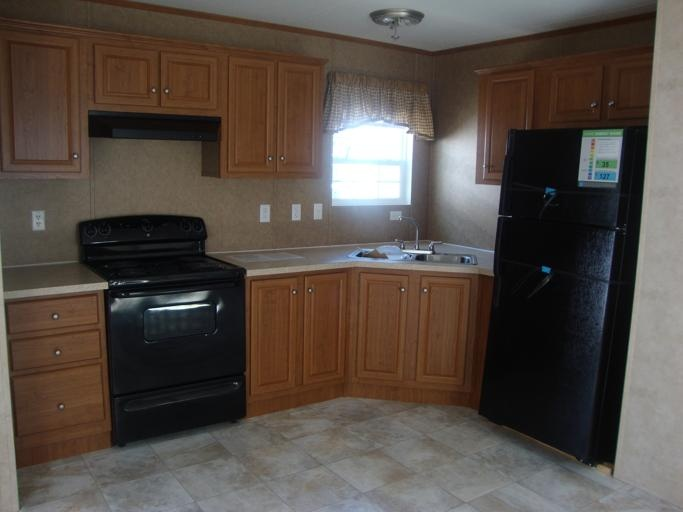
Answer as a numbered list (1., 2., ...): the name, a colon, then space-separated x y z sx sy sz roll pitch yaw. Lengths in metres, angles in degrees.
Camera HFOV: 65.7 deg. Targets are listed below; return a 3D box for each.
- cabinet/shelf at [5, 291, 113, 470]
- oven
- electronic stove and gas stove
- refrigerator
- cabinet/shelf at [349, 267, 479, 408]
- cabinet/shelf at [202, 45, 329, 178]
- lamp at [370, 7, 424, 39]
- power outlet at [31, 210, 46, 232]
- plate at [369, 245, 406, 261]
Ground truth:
1. cabinet/shelf: -1.633 0.657 3.077 0.497 0.859 0.177 -3 13 -20
2. oven: -1.207 0.667 3.642 0.928 0.990 0.736 -2 1 -42
3. electronic stove and gas stove: -1.203 0.041 3.573 0.930 0.197 0.690 -5 13 -30
4. refrigerator: 1.327 0.216 3.240 0.864 1.968 0.453 8 14 29
5. cabinet/shelf: 0.567 0.566 3.924 0.995 0.972 0.398 3 9 16
6. cabinet/shelf: -0.588 -1.052 3.864 1.022 0.973 0.446 -4 9 -41
7. lamp: 0.400 -1.700 3.803 0.223 0.104 0.218 -1 2 -4
8. power outlet: -2.006 -0.235 3.509 0.082 0.141 0.020 -7 15 -35
9. plate: 0.413 -0.028 4.318 0.156 0.053 0.153 14 5 -27
